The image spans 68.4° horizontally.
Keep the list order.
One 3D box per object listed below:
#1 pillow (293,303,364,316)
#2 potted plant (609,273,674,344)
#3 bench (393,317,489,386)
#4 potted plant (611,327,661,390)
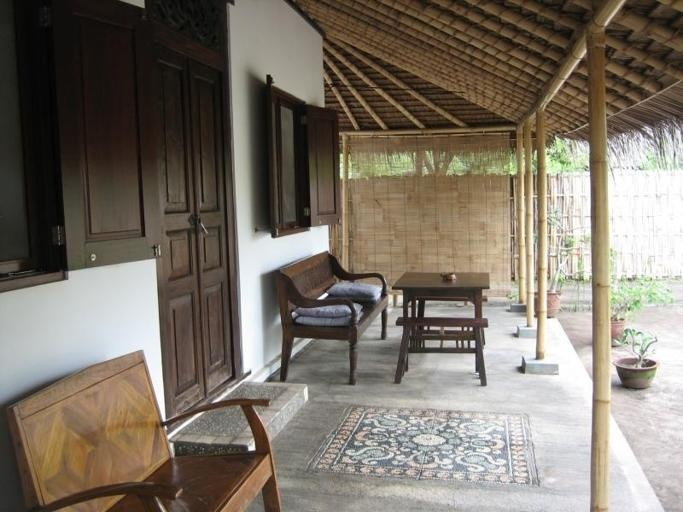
[{"bbox_3d":[-0.181,0.544,5.055,0.682,0.150,0.272,0,8,11],"label":"pillow"},{"bbox_3d":[3.993,0.719,6.699,0.762,0.955,0.966,0,1,18],"label":"potted plant"},{"bbox_3d":[1.020,0.840,5.170,0.936,0.564,0.690,-1,-5,8],"label":"bench"},{"bbox_3d":[3.042,1.084,5.217,0.546,0.595,0.486,0,-1,4],"label":"potted plant"}]
